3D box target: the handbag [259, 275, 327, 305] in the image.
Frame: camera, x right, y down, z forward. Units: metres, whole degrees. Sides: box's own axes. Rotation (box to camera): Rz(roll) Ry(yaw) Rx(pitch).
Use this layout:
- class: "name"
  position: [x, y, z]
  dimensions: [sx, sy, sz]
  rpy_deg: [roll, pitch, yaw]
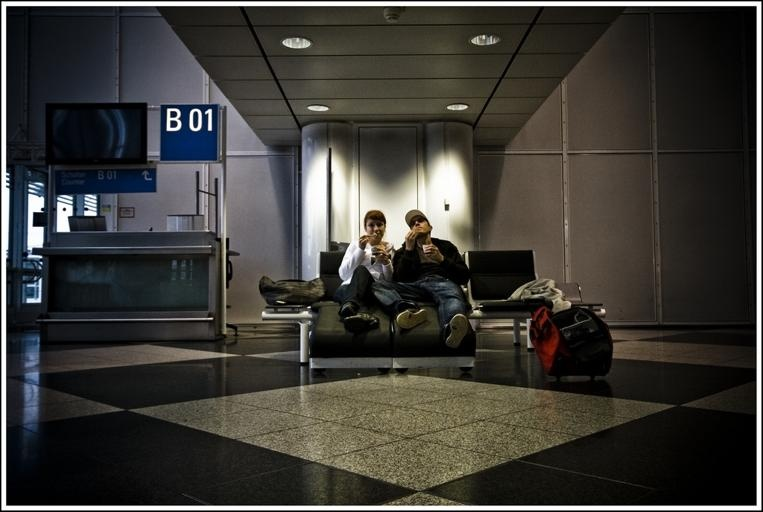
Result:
- class: "handbag"
  position: [-0.874, 0.351, 5.868]
  dimensions: [0.456, 0.193, 0.337]
  rpy_deg: [2, -2, -10]

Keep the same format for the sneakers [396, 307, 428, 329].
- class: "sneakers"
  position: [0.260, 0.534, 5.147]
  dimensions: [0.274, 0.137, 0.114]
  rpy_deg: [-11, 13, -24]

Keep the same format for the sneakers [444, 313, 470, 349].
- class: "sneakers"
  position: [0.643, 0.628, 5.086]
  dimensions: [0.176, 0.299, 0.121]
  rpy_deg: [14, 4, -10]

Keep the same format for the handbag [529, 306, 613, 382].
- class: "handbag"
  position: [1.504, 0.726, 5.125]
  dimensions: [0.678, 0.691, 0.519]
  rpy_deg: [-7, -1, -1]
